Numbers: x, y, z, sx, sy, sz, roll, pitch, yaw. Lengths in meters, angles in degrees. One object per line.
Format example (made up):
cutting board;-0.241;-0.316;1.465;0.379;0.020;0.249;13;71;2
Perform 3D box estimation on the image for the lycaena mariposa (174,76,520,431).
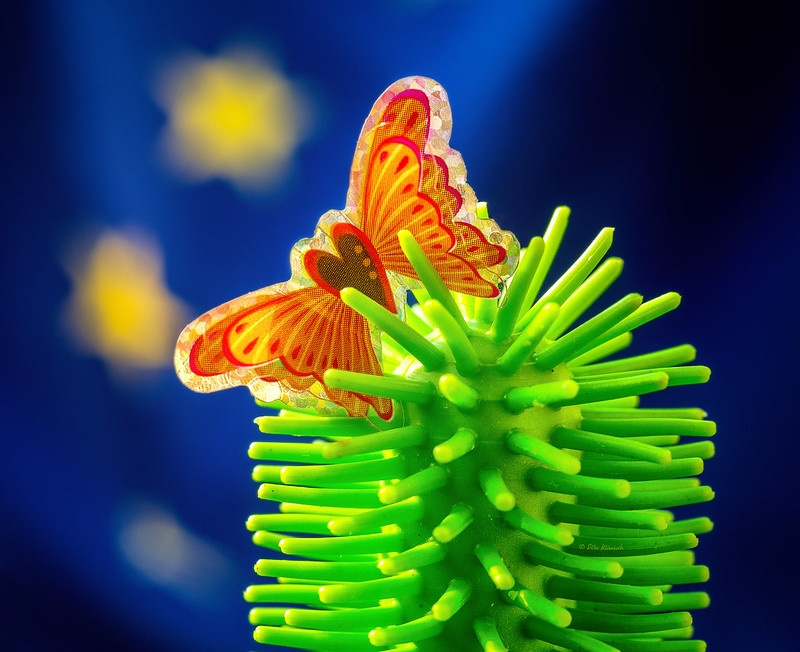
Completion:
lycaena mariposa;-0.040;-0.080;1.120;0.345;0.023;0.234;-37;-80;2
